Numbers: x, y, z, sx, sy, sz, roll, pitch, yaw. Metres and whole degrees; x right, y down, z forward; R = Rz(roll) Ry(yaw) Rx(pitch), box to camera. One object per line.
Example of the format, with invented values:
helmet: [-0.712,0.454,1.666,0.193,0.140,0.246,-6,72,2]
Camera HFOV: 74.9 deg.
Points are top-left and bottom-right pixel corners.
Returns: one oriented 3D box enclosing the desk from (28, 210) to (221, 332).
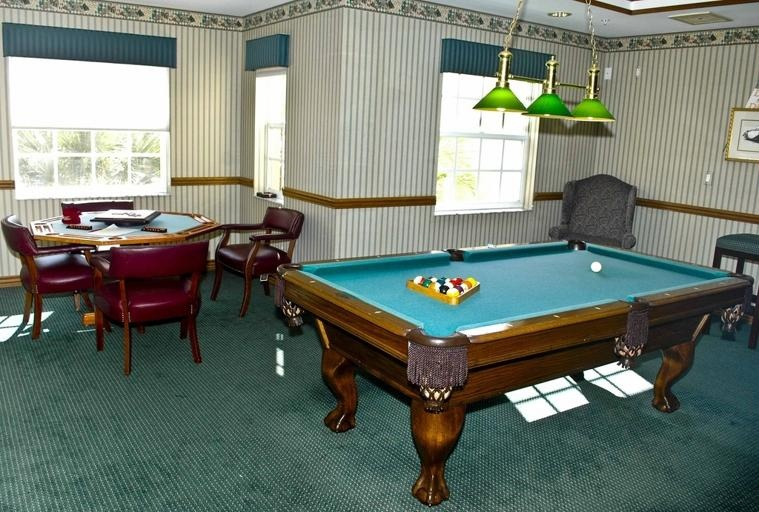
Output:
desk: [-2.506,0.041,5.160,1.697,0.679,1.486,1,11,-8]

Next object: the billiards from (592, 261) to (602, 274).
billiards: [1.715,0.093,3.904,0.080,0.079,0.065,5,54,-6]
